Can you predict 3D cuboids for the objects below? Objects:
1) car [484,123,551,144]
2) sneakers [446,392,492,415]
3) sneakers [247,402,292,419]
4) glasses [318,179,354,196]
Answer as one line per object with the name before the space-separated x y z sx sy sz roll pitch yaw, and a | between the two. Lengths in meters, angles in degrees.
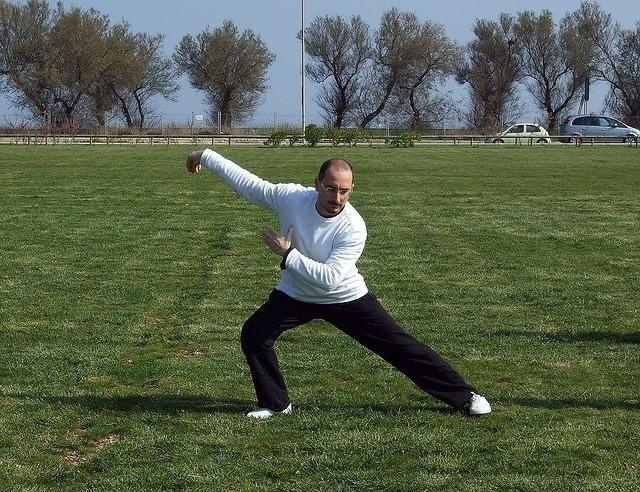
car | 9.707 -5.413 45.571 2.785 0.971 2.975 3 12 10
sneakers | 1.484 1.536 8.990 0.140 0.136 0.327 -3 -1 -26
sneakers | -0.505 1.612 9.033 0.436 0.183 0.151 0 8 -8
glasses | 0.127 -0.537 8.629 0.318 0.136 0.153 0 11 -3
